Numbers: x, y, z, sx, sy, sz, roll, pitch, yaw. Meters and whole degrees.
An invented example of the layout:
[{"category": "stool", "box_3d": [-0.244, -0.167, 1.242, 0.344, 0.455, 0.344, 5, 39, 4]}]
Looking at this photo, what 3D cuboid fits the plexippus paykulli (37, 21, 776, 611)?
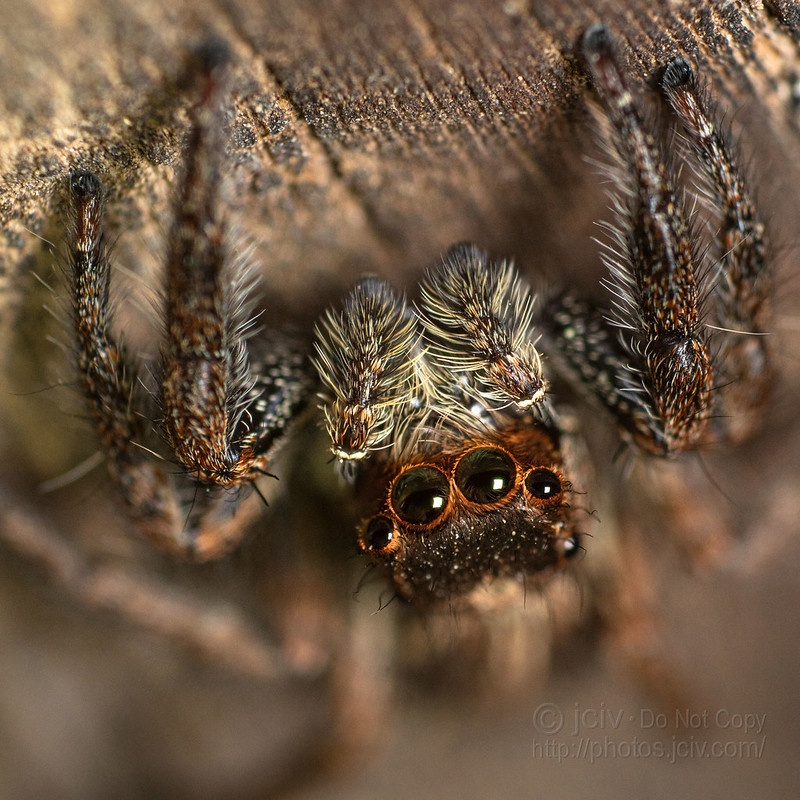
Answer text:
[{"category": "plexippus paykulli", "box_3d": [0.075, -0.132, 1.673, 1.385, 0.349, 1.029, -16, 79, -2]}]
